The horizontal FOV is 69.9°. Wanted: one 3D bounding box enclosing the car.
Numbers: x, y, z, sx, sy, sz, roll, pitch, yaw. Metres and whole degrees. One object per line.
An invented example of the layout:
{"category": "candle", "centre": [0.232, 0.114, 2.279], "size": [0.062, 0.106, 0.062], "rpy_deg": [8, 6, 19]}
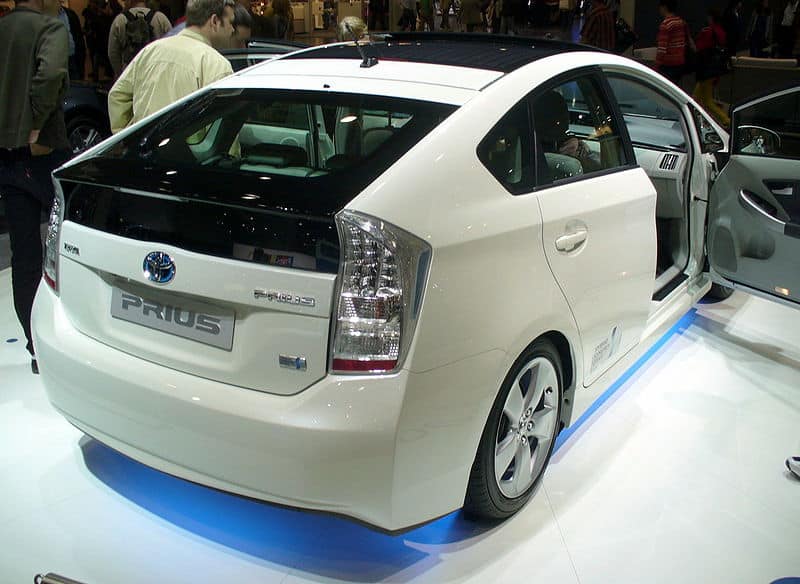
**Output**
{"category": "car", "centre": [0.200, -0.109, 2.457], "size": [1.676, 1.141, 2.621], "rpy_deg": [15, 30, 35]}
